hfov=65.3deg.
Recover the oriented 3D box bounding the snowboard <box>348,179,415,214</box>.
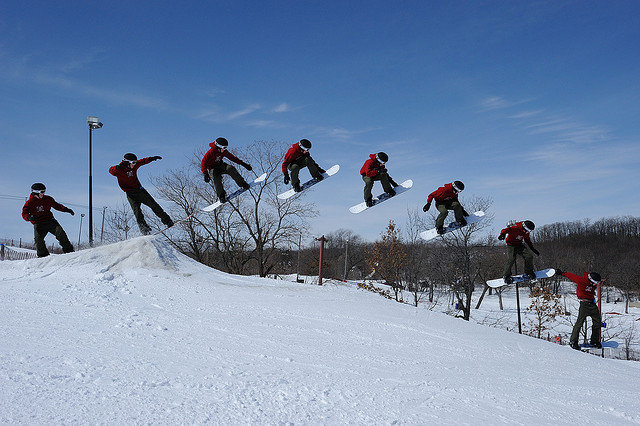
[{"bbox_3d":[2.061,-0.562,15.927,2.435,0.369,0.488,-26,-33,22],"label":"snowboard"}]

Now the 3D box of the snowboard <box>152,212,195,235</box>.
[{"bbox_3d":[-4.615,0.291,15.944,2.301,0.274,0.241,-28,-68,40],"label":"snowboard"}]

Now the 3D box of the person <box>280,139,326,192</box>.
[{"bbox_3d":[-0.595,-1.495,15.772,0.918,1.430,1.161,-1,-8,26],"label":"person"}]
